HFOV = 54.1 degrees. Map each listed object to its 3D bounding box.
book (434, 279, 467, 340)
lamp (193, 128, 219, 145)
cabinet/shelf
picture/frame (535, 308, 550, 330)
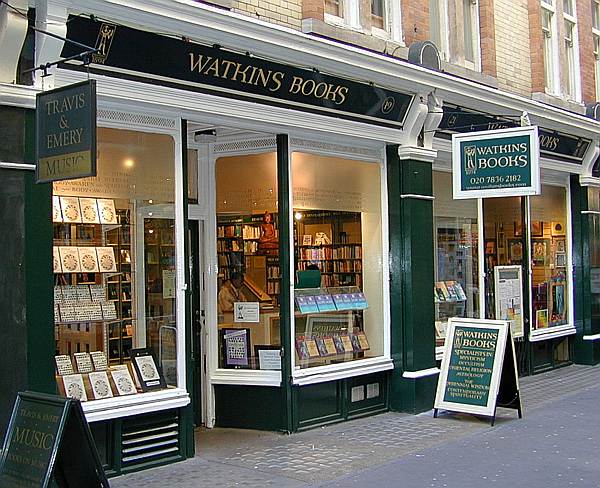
[{"bbox_3d":[2.262,1.003,8.934,0.239,0.775,0.780,-6,-10,37],"label":"book"},{"bbox_3d":[-1.203,-1.374,7.516,0.288,0.186,0.181,-4,1,-15],"label":"lamp"},{"bbox_3d":[-0.982,0.634,7.181,4.228,1.892,1.050,-5,1,-42],"label":"cabinet/shelf"},{"bbox_3d":[4.720,1.463,11.484,0.039,0.421,0.401,-1,0,44],"label":"picture/frame"}]
